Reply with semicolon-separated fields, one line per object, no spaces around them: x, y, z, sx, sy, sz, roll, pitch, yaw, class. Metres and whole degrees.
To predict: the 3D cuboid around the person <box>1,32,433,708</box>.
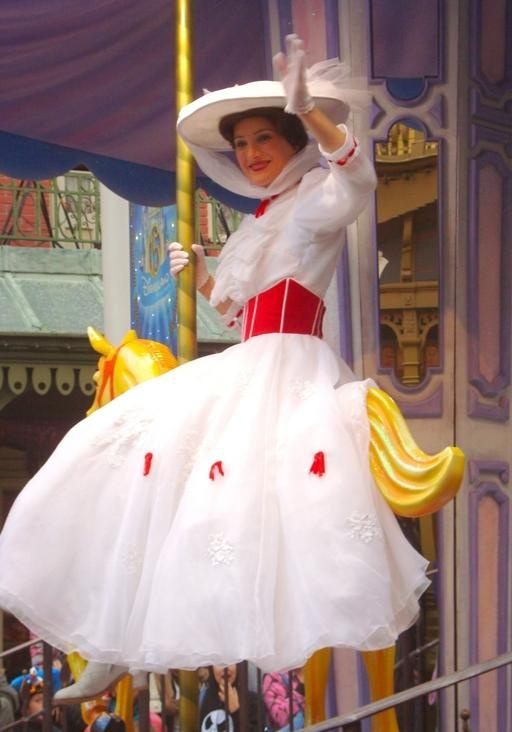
-0.129;0.039;3.439;1.083;1.746;0.785;-5;-4;6;person

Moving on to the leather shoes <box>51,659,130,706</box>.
-0.458;0.904;3.659;0.275;0.109;0.091;-8;4;-42;leather shoes

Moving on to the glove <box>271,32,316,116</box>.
0.098;-0.753;3.345;0.094;0.193;0.205;-5;-4;3;glove
